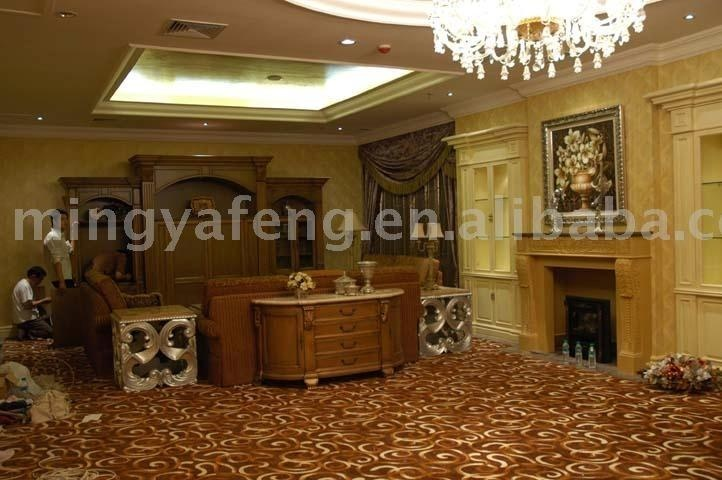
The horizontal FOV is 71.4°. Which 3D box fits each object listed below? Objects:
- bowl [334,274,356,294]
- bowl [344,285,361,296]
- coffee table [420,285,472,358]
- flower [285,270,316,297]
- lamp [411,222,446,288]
[{"bbox_3d":[-0.240,0.642,7.260,0.244,0.248,0.287,-1,2,-22],"label":"bowl"},{"bbox_3d":[-0.107,0.719,7.170,0.157,0.104,0.157,1,1,0],"label":"bowl"},{"bbox_3d":[1.327,1.371,8.716,1.031,0.965,1.005,0,-2,-19],"label":"coffee table"},{"bbox_3d":[-0.860,0.617,7.091,0.366,0.315,0.361,1,-2,-37],"label":"flower"},{"bbox_3d":[1.288,0.260,9.595,0.597,1.221,1.965,0,6,8],"label":"lamp"}]
